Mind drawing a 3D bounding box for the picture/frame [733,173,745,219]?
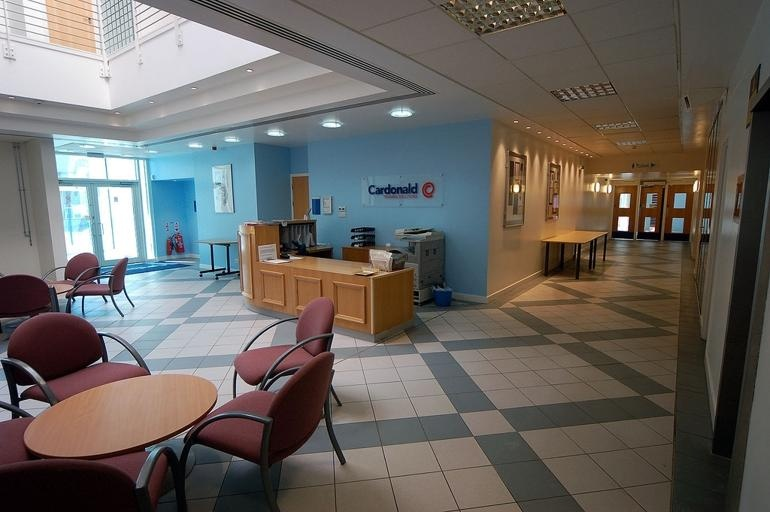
[{"bbox_3d":[3.604,-0.607,4.827,0.071,0.438,0.748,4,8,36],"label":"picture/frame"}]

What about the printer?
[{"bbox_3d":[0.652,0.181,8.449,0.419,1.323,0.972,5,9,42],"label":"printer"}]

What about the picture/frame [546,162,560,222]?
[{"bbox_3d":[3.852,-1.532,10.930,0.136,1.436,1.369,1,7,24],"label":"picture/frame"}]

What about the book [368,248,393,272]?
[{"bbox_3d":[-0.078,0.070,6.873,0.407,0.287,0.222,4,9,41],"label":"book"}]

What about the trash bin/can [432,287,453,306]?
[{"bbox_3d":[1.003,0.712,8.296,0.328,0.247,0.315,-2,6,5],"label":"trash bin/can"}]
